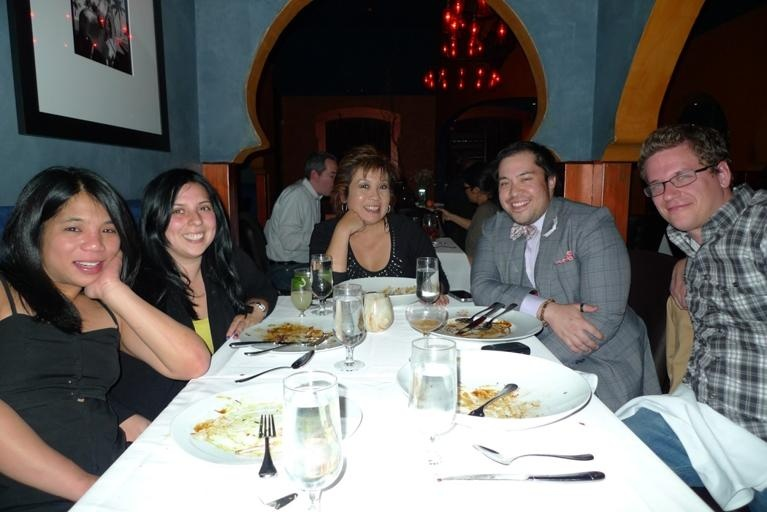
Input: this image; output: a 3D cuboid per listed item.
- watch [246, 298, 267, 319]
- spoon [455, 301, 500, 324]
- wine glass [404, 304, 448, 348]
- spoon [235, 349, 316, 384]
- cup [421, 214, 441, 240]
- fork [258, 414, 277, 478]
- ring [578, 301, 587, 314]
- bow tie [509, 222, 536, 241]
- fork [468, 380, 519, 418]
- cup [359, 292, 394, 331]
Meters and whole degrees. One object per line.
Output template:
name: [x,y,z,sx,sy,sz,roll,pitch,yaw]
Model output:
watch: [-0.654,0.270,2.853,0.074,0.044,0.101,17,9,-1]
spoon: [0.445,0.254,2.638,0.082,0.044,0.315,-5,3,40]
wine glass: [0.192,0.288,2.340,0.155,0.147,0.150,0,-11,2]
spoon: [-0.357,0.425,2.259,0.484,0.083,0.096,-4,-3,-34]
cup: [0.449,-0.298,5.287,0.240,0.317,0.255,-1,-5,0]
fork: [-0.381,0.616,1.807,0.044,0.029,0.265,-1,32,-8]
ring: [0.971,0.253,2.702,0.038,0.031,0.041,-2,7,0]
bow tie: [0.768,-0.137,3.044,0.100,0.096,0.031,5,3,34]
fork: [0.401,0.492,1.985,0.067,0.035,0.322,16,14,32]
cup: [-0.044,0.249,2.515,0.157,0.146,0.155,-1,0,0]
